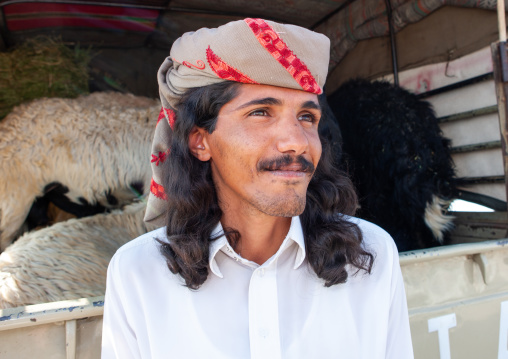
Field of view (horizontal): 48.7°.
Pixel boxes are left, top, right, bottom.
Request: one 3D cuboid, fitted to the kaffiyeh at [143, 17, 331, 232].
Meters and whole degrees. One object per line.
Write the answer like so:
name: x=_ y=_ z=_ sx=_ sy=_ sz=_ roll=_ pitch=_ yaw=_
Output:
kaffiyeh: x=-0.086 y=-0.382 z=3.841 sx=0.978 sy=1.311 sz=1.217 roll=6 pitch=-7 yaw=-43
